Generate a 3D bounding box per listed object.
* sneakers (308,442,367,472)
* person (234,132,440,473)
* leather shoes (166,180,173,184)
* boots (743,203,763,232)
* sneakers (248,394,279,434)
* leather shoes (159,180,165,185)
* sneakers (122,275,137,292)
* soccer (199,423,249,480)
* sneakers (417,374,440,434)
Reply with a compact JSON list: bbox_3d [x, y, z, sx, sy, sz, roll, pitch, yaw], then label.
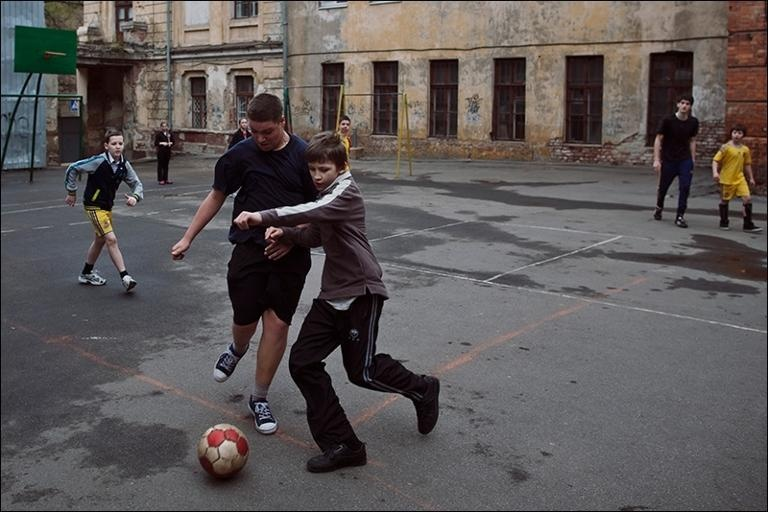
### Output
[{"bbox_3d":[-0.320,1.434,4.055,0.459,0.218,0.173,0,4,-14],"label":"sneakers"},{"bbox_3d":[-0.284,0.313,4.011,1.120,2.319,0.734,-12,19,-38],"label":"person"},{"bbox_3d":[-7.462,-2.566,19.161,0.241,0.104,0.090,5,8,36],"label":"leather shoes"},{"bbox_3d":[7.428,-0.806,11.138,0.358,0.537,0.632,10,18,34],"label":"boots"},{"bbox_3d":[-0.974,1.276,4.479,0.134,0.143,0.380,-5,13,-26],"label":"sneakers"},{"bbox_3d":[-7.577,-2.517,18.899,0.089,0.108,0.266,-3,5,-35],"label":"leather shoes"},{"bbox_3d":[-3.529,0.361,7.660,0.160,0.220,0.285,-8,17,-26],"label":"sneakers"},{"bbox_3d":[-1.132,1.374,3.872,0.307,0.344,0.237,-9,17,-28],"label":"soccer"},{"bbox_3d":[0.322,1.150,4.367,0.207,0.484,0.160,-4,8,-22],"label":"sneakers"}]
